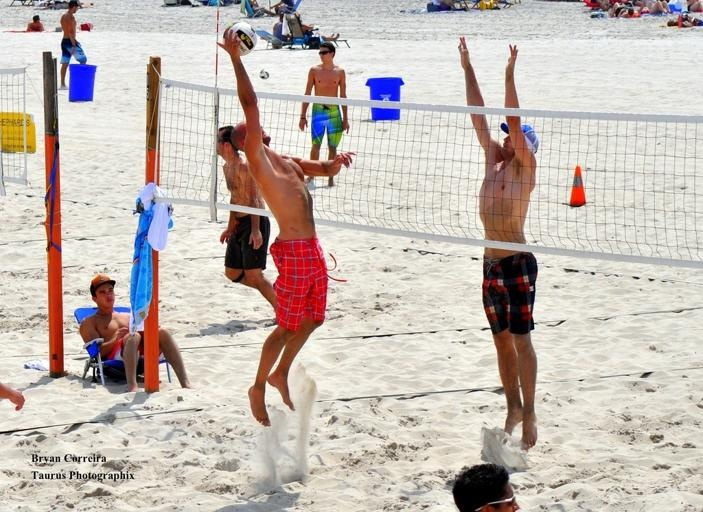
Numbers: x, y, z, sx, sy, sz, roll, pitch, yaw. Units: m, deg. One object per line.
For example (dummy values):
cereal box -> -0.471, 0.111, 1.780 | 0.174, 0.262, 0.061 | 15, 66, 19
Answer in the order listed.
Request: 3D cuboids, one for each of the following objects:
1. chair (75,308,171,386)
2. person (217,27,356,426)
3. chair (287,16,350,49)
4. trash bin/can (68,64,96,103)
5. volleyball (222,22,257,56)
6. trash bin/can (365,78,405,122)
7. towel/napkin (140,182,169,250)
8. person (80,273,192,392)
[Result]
chair -> -2.237, 0.854, 9.032 | 0.689, 0.551, 0.957 | -9, 17, -36
person -> -0.557, -0.125, 7.666 | 0.797, 2.874, 0.830 | -1, 15, -18
chair -> -1.034, -5.565, 24.036 | 1.179, 0.555, 0.624 | 2, 15, -19
trash bin/can -> -5.024, -3.332, 18.224 | 0.803, 0.717, 0.695 | 0, 18, -15
volleyball -> -0.870, -1.735, 7.568 | 0.223, 0.241, 0.259 | 4, 14, 0
trash bin/can -> 0.565, -2.723, 16.457 | 0.789, 0.634, 0.452 | -1, 12, 0
towel/napkin -> -1.726, -0.330, 8.326 | 0.276, 0.589, 0.298 | 1, 15, -12
person -> -2.051, 0.715, 8.828 | 0.802, 0.990, 1.504 | -6, 8, -37
